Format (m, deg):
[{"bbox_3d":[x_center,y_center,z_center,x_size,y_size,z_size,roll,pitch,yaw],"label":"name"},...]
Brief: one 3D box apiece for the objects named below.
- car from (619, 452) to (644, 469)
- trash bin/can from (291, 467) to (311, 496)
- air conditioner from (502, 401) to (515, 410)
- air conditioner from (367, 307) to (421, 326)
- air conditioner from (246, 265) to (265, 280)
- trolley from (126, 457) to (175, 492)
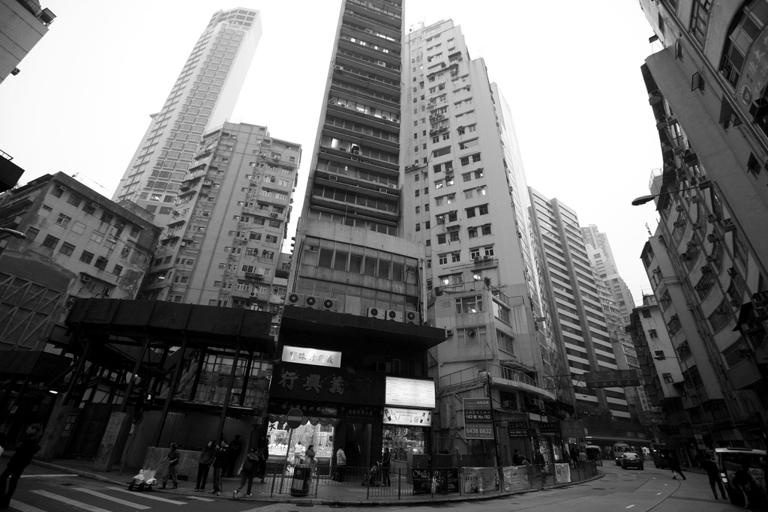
[{"bbox_3d":[31.503,26.083,57.897,2.390,2.343,2.949,-12,-34,21],"label":"car"},{"bbox_3d":[-6.290,17.005,34.326,1.301,2.052,1.002,6,-32,-9],"label":"trash bin/can"},{"bbox_3d":[13.619,16.420,49.993,1.039,0.967,0.536,2,-14,-16],"label":"air conditioner"},{"bbox_3d":[1.155,6.117,46.268,5.561,1.742,1.227,8,-32,-12],"label":"air conditioner"},{"bbox_3d":[-21.347,2.694,75.366,2.760,2.752,1.348,14,-33,-20],"label":"air conditioner"},{"bbox_3d":[-16.908,15.978,33.753,2.785,2.718,3.043,-19,-37,30],"label":"trolley"}]
